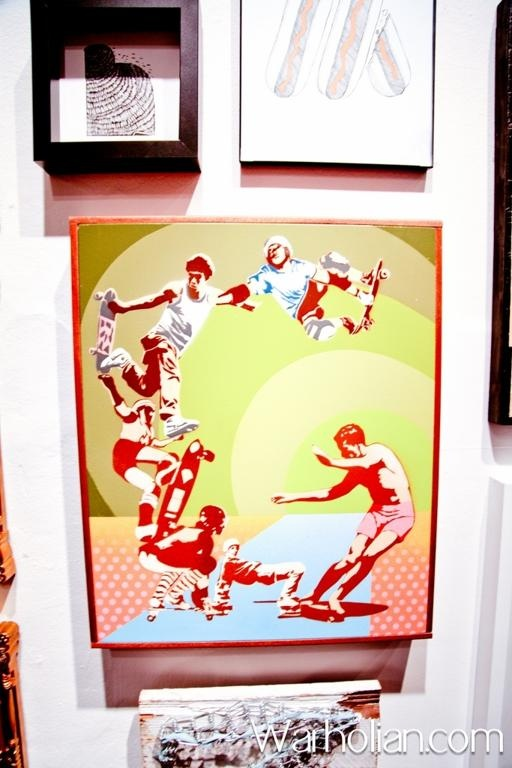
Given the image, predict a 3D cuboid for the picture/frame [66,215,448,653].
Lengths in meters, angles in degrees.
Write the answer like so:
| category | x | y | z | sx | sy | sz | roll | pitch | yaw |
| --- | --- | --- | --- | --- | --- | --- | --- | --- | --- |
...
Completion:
| category | x | y | z | sx | sy | sz | roll | pitch | yaw |
| --- | --- | --- | --- | --- | --- | --- | --- | --- | --- |
| picture/frame | -0.008 | 0.075 | 1.342 | 0.896 | 1.001 | 0.043 | 0 | 5 | -2 |
